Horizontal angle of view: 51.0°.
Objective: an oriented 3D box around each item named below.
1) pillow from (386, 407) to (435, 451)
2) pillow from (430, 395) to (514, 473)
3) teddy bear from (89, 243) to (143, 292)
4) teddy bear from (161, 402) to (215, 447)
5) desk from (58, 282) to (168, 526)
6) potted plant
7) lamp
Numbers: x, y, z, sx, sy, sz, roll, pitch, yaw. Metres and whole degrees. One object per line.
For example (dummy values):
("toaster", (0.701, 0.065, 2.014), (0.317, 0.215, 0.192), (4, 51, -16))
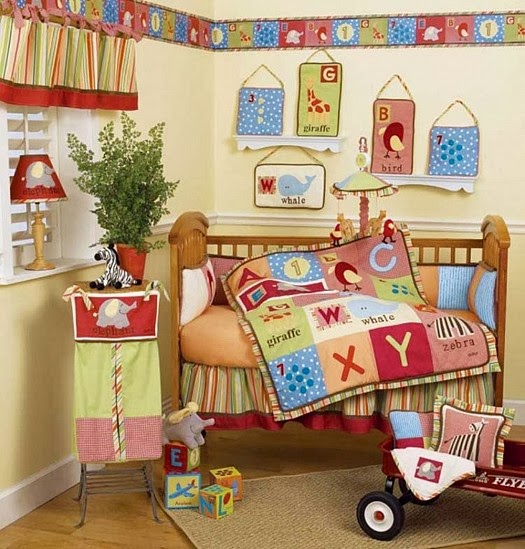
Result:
("pillow", (0.518, 0.528, 1.890), (0.163, 0.107, 0.104), (0, 4, -7))
("pillow", (0.653, 0.522, 1.772), (0.252, 0.209, 0.255), (3, 5, 32))
("teddy bear", (-0.490, -0.032, 1.869), (0.168, 0.135, 0.067), (12, 9, 3))
("teddy bear", (-0.279, 0.558, 2.044), (0.190, 0.082, 0.124), (3, 19, 9))
("desk", (-0.526, 0.432, 1.932), (0.374, 0.760, 0.347), (1, -7, -23))
("potted plant", (-0.491, -0.244, 1.989), (0.427, 0.566, 0.329), (3, 17, 12))
("lamp", (-0.774, -0.208, 1.874), (0.241, 0.382, 0.226), (-4, 13, -12))
